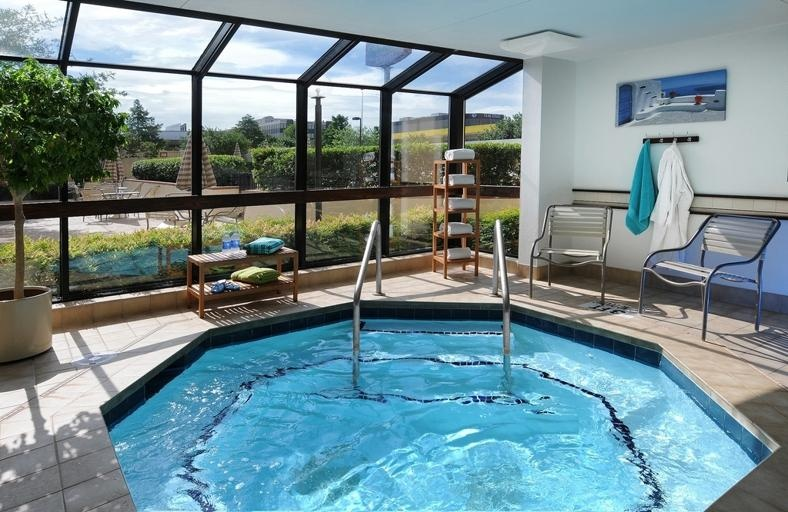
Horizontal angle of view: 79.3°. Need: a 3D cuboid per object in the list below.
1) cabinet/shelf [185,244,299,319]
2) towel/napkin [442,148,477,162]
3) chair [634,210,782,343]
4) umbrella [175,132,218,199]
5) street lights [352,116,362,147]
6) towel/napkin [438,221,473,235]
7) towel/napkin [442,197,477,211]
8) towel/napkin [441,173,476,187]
[{"bbox_3d":[-2.225,0.298,6.935,1.493,0.787,0.995,-8,14,-31],"label":"cabinet/shelf"},{"bbox_3d":[1.183,-1.796,8.439,0.562,0.178,0.487,-3,5,-19],"label":"towel/napkin"},{"bbox_3d":[4.380,0.240,6.687,1.983,1.965,1.708,-4,7,-25],"label":"chair"},{"bbox_3d":[-3.088,-1.361,7.477,0.830,1.127,0.633,-4,12,-22],"label":"umbrella"},{"bbox_3d":[-0.644,-2.217,8.389,0.071,0.492,0.184,11,17,43],"label":"street lights"},{"bbox_3d":[1.146,-0.472,8.365,0.457,0.212,0.108,-4,13,-16],"label":"towel/napkin"},{"bbox_3d":[1.180,-0.901,8.330,0.482,0.215,0.183,-1,12,-2],"label":"towel/napkin"},{"bbox_3d":[1.164,-1.308,8.253,0.459,0.180,0.212,0,12,1],"label":"towel/napkin"}]
